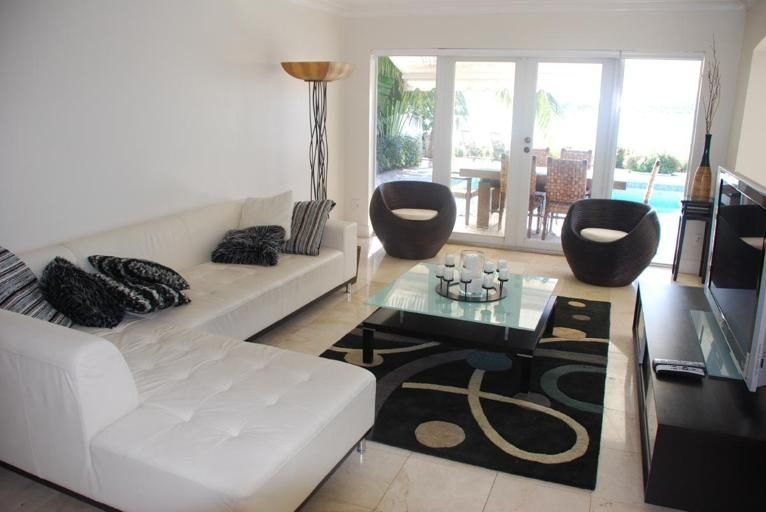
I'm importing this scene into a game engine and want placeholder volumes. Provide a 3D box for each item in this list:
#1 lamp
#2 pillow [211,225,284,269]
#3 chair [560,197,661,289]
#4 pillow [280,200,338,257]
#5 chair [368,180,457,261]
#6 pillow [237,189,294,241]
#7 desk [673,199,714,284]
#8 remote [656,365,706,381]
[{"bbox_3d":[-0.796,-1.454,5.906,0.724,1.591,1.142,-3,19,-11],"label":"lamp"},{"bbox_3d":[-1.152,-0.162,4.563,0.668,0.208,0.637,-7,1,5],"label":"pillow"},{"bbox_3d":[2.369,-0.158,5.307,1.054,0.857,0.960,-7,14,-39],"label":"chair"},{"bbox_3d":[-0.668,-0.264,4.676,0.521,0.493,0.138,5,-20,28],"label":"pillow"},{"bbox_3d":[0.361,-0.416,5.979,1.121,0.845,1.014,1,11,-2],"label":"chair"},{"bbox_3d":[-1.091,-0.367,4.621,0.612,0.424,0.212,1,-13,16],"label":"pillow"},{"bbox_3d":[3.379,-0.228,5.412,0.437,0.656,0.291,3,-5,7],"label":"desk"},{"bbox_3d":[1.693,0.659,2.827,0.197,0.044,0.105,3,21,18],"label":"remote"}]
